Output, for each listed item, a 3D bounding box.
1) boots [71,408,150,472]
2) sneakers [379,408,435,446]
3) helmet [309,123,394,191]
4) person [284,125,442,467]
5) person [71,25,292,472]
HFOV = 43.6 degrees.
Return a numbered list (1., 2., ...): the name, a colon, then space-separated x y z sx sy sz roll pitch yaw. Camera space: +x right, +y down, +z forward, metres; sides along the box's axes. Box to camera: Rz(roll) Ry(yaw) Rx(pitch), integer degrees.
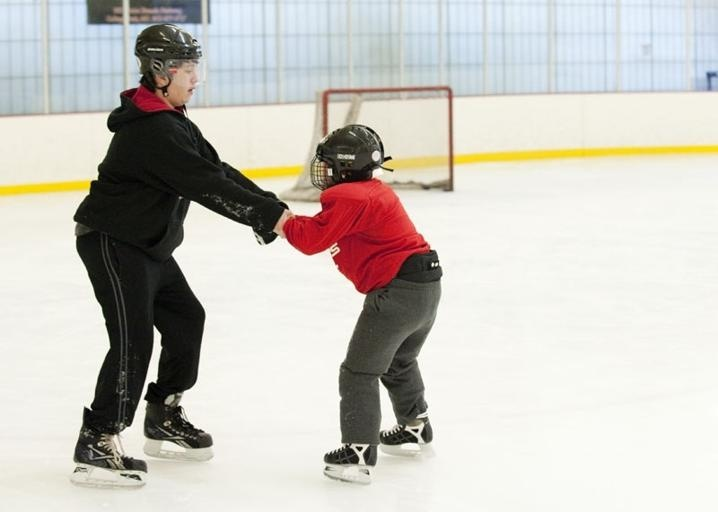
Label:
1. boots: -1.113 0.855 4.077 0.413 0.246 0.129 6 6 18
2. sneakers: 0.212 0.841 4.313 0.316 0.161 0.099 -8 13 28
3. helmet: -0.048 -0.451 4.110 0.383 0.264 0.264 -2 15 -2
4. person: 0.018 0.203 4.108 0.758 1.594 0.338 1 6 -6
5. person: -0.877 -0.026 4.099 0.845 2.054 0.491 0 6 -13
